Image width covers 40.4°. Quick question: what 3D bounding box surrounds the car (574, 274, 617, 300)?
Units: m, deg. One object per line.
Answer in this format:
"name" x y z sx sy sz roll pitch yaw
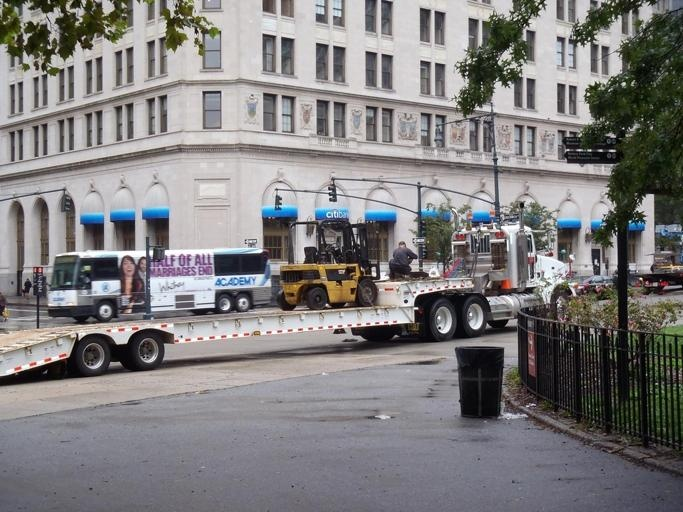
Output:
"car" 10.355 1.172 37.928 1.697 0.712 0.758 -7 7 -41

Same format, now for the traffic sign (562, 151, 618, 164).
"traffic sign" 4.449 -1.790 16.488 0.918 0.226 0.384 3 6 23

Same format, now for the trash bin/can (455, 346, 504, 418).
"trash bin/can" 2.414 2.138 16.284 0.790 1.212 0.825 0 -1 -13

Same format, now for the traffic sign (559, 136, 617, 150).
"traffic sign" 4.448 -2.048 16.601 0.958 0.248 0.560 2 6 21

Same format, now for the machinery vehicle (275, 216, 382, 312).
"machinery vehicle" -0.109 0.262 28.576 3.604 2.774 1.706 -3 1 -40
